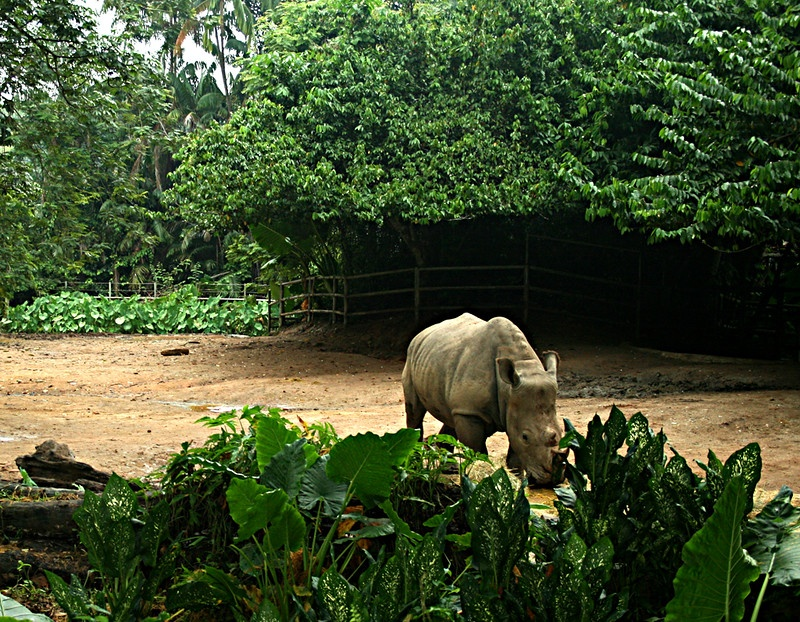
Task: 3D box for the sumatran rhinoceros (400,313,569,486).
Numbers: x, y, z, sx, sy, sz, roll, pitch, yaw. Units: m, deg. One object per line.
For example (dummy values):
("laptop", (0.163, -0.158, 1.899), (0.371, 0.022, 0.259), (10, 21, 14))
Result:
("sumatran rhinoceros", (0.788, 0.728, 7.962), (0.680, 1.350, 2.092), (0, 0, -23))
